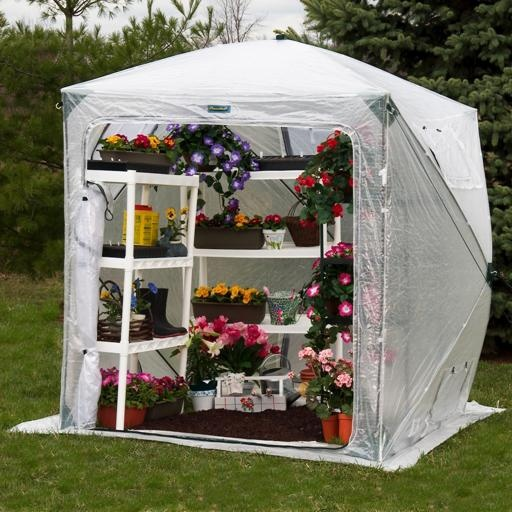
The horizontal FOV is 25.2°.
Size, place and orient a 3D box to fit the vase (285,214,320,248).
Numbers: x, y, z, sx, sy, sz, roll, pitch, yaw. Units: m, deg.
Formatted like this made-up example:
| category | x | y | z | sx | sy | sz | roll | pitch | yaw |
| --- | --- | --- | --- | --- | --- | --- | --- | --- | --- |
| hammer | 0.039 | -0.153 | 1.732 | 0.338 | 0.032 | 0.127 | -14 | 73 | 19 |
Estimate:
| category | x | y | z | sx | sy | sz | roll | pitch | yaw |
| --- | --- | --- | --- | --- | --- | --- | --- | --- | --- |
| vase | 0.368 | -0.214 | 9.473 | 0.262 | 0.176 | 0.255 | -1 | -2 | 28 |

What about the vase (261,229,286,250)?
| category | x | y | z | sx | sy | sz | roll | pitch | yaw |
| --- | --- | --- | --- | --- | --- | --- | --- | --- | --- |
| vase | 0.145 | -0.145 | 9.485 | 0.172 | 0.131 | 0.168 | 0 | 0 | -11 |

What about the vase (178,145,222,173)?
| category | x | y | z | sx | sy | sz | roll | pitch | yaw |
| --- | --- | --- | --- | --- | --- | --- | --- | --- | --- |
| vase | -0.509 | -0.784 | 9.291 | 0.277 | 0.149 | 0.276 | -3 | -1 | 39 |

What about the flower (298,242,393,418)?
| category | x | y | z | sx | sy | sz | roll | pitch | yaw |
| --- | --- | --- | --- | --- | --- | --- | --- | --- | --- |
| flower | 0.518 | 0.559 | 8.485 | 0.385 | 1.286 | 0.894 | 2 | 11 | 2 |

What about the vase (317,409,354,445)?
| category | x | y | z | sx | sy | sz | roll | pitch | yaw |
| --- | --- | --- | --- | --- | --- | --- | --- | --- | --- |
| vase | 0.583 | 1.240 | 8.328 | 0.215 | 0.169 | 0.235 | 2 | 3 | 7 |

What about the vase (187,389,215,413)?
| category | x | y | z | sx | sy | sz | roll | pitch | yaw |
| --- | --- | --- | --- | --- | --- | --- | --- | --- | --- |
| vase | -0.448 | 1.158 | 9.225 | 0.187 | 0.135 | 0.174 | -1 | -5 | 18 |

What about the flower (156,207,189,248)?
| category | x | y | z | sx | sy | sz | roll | pitch | yaw |
| --- | --- | --- | --- | --- | --- | --- | --- | --- | --- |
| flower | -0.652 | -0.236 | 9.135 | 0.346 | 0.406 | 0.303 | 2 | 3 | 0 |

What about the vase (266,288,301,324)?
| category | x | y | z | sx | sy | sz | roll | pitch | yaw |
| --- | --- | --- | --- | --- | --- | --- | --- | --- | --- |
| vase | 0.222 | 0.427 | 9.484 | 0.299 | 0.270 | 0.282 | 2 | -4 | 4 |

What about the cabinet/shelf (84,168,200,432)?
| category | x | y | z | sx | sy | sz | roll | pitch | yaw |
| --- | --- | --- | --- | --- | --- | --- | --- | --- | --- |
| cabinet/shelf | -0.900 | 0.262 | 8.823 | 0.706 | 1.912 | 1.185 | 5 | 12 | 17 |

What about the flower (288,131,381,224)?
| category | x | y | z | sx | sy | sz | roll | pitch | yaw |
| --- | --- | --- | --- | --- | --- | --- | --- | --- | --- |
| flower | 0.487 | -0.582 | 8.421 | 0.387 | 0.711 | 0.649 | -1 | 11 | -9 |

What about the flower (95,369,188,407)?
| category | x | y | z | sx | sy | sz | roll | pitch | yaw |
| --- | --- | --- | --- | --- | --- | --- | --- | --- | --- |
| flower | -0.916 | 1.006 | 8.770 | 0.353 | 0.150 | 0.455 | 2 | -3 | 21 |

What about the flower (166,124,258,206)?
| category | x | y | z | sx | sy | sz | roll | pitch | yaw |
| --- | --- | --- | --- | --- | --- | --- | --- | --- | --- |
| flower | -0.438 | -0.734 | 9.349 | 0.621 | 0.367 | 0.652 | 30 | 12 | 34 |

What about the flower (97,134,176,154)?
| category | x | y | z | sx | sy | sz | roll | pitch | yaw |
| --- | --- | --- | --- | --- | --- | --- | --- | --- | --- |
| flower | -0.928 | -0.880 | 8.973 | 0.250 | 0.103 | 0.330 | -3 | -4 | 44 |

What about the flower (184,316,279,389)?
| category | x | y | z | sx | sy | sz | roll | pitch | yaw |
| --- | --- | --- | --- | --- | --- | --- | --- | --- | --- |
| flower | -0.211 | 0.758 | 9.339 | 0.605 | 0.419 | 0.610 | 2 | -4 | 31 |

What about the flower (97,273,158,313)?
| category | x | y | z | sx | sy | sz | roll | pitch | yaw |
| --- | --- | --- | --- | --- | --- | --- | --- | --- | --- |
| flower | -0.952 | 0.310 | 8.860 | 0.358 | 0.172 | 0.353 | 17 | -17 | -38 |
